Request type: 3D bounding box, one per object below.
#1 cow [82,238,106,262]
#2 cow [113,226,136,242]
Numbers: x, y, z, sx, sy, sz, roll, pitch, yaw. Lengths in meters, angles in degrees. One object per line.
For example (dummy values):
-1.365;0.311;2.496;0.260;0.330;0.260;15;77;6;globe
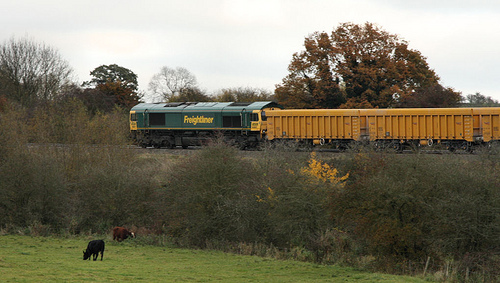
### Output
-11.112;7.818;56.074;1.415;1.473;1.291;1;-1;-12;cow
-9.921;7.345;61.925;1.625;1.065;0.717;1;-1;-8;cow
